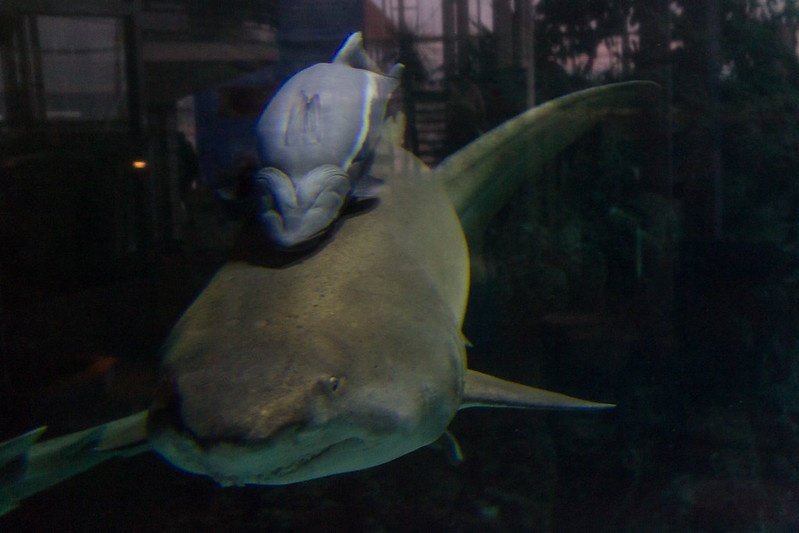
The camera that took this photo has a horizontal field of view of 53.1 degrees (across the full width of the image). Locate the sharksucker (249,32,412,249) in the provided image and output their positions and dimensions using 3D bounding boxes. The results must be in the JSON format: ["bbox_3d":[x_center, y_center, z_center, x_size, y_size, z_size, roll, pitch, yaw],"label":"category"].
[{"bbox_3d":[-0.138,-0.248,1.425,0.280,0.151,0.456,3,51,14],"label":"sharksucker"}]
